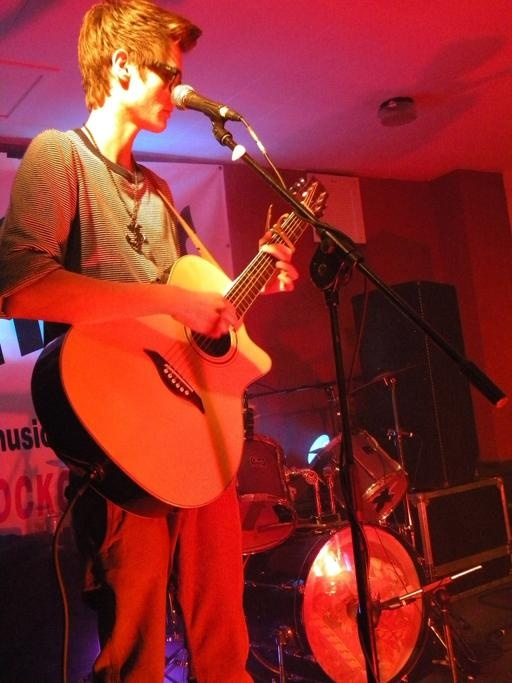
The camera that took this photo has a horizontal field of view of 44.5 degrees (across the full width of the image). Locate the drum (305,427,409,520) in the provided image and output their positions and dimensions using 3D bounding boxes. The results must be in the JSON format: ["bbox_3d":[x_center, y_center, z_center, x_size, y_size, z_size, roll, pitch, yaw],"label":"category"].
[{"bbox_3d":[0.516,0.616,2.836,0.489,0.214,0.636,48,14,1],"label":"drum"}]

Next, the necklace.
[{"bbox_3d":[-0.317,-0.348,1.404,0.044,0.288,0.115,-36,-27,29],"label":"necklace"}]

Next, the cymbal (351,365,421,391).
[{"bbox_3d":[0.719,0.203,3.555,0.348,0.159,0.636,6,1,21],"label":"cymbal"}]

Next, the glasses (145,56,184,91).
[{"bbox_3d":[-0.213,-0.616,1.454,0.019,0.043,0.078,-22,6,34],"label":"glasses"}]

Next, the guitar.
[{"bbox_3d":[-0.087,-0.023,1.391,0.130,0.886,0.428,-23,-64,40],"label":"guitar"}]
